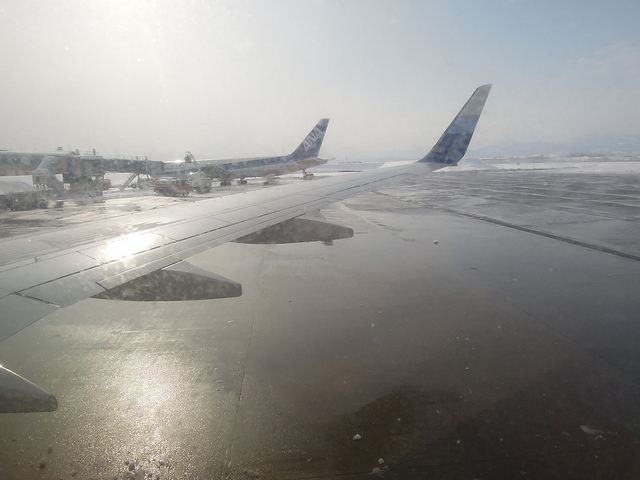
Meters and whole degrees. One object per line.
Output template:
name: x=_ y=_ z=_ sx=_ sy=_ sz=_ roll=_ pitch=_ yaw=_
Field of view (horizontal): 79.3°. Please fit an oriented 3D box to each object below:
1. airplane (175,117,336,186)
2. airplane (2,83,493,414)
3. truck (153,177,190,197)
airplane: x=-7.183 y=-8.336 z=43.626 sx=13.607 sy=5.391 sz=13.617 roll=-3 pitch=26 yaw=-1
airplane: x=-0.856 y=-0.948 z=8.431 sx=9.939 sy=5.172 sz=3.693 roll=-11 pitch=21 yaw=-39
truck: x=-13.309 y=-4.814 z=34.600 sx=2.583 sy=1.337 sz=1.838 roll=6 pitch=18 yaw=24
